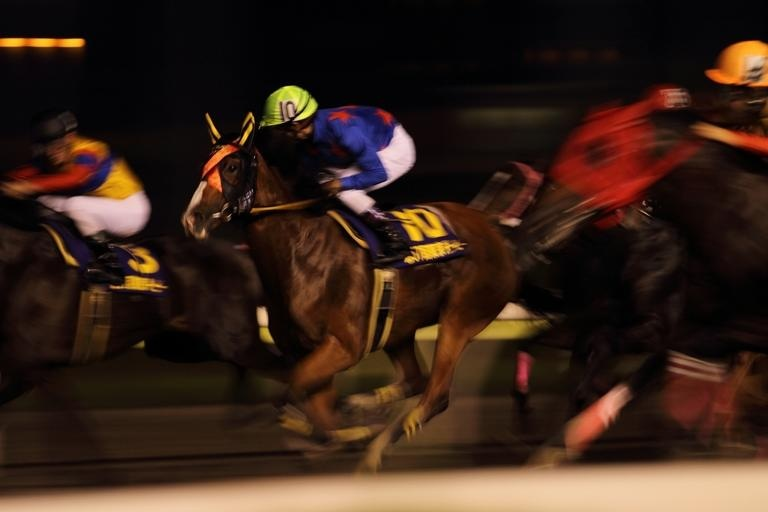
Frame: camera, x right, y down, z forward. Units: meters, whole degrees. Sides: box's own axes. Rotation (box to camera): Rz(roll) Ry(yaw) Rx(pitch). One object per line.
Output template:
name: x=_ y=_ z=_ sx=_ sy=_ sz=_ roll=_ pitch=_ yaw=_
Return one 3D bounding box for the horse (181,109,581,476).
horse: x=-0.167 y=0.194 z=3.979 sx=2.216 sy=1.451 sz=0.624 roll=4 pitch=-2 yaw=-42

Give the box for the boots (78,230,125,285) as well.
boots: x=-1.244 y=0.035 z=4.007 sx=0.159 sy=0.159 sz=0.174 roll=-3 pitch=24 yaw=-15

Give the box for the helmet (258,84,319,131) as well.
helmet: x=-0.395 y=-0.608 z=3.742 sx=0.181 sy=0.175 sz=0.154 roll=15 pitch=26 yaw=22
